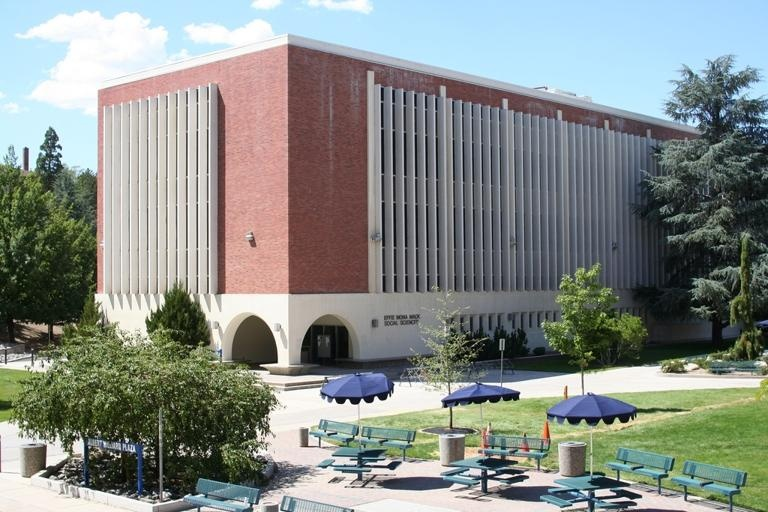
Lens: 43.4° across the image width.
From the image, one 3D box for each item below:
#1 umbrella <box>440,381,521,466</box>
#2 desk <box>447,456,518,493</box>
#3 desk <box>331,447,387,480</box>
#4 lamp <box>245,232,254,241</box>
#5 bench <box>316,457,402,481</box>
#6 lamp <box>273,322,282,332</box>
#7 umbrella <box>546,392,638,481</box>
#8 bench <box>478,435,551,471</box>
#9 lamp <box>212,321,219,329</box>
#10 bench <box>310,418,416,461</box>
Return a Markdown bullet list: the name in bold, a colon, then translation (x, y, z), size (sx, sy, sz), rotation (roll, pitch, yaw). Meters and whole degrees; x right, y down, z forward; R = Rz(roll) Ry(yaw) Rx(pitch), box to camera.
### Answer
- **umbrella**: translation (4.069, 7.091, 40.658), size (3.578, 1.048, 3.512), rotation (-3, -3, 28)
- **desk**: translation (3.477, 8.097, 36.043), size (2.307, 1.204, 2.201), rotation (2, -9, -34)
- **desk**: translation (-0.842, 8.052, 37.195), size (1.518, 0.825, 1.844), rotation (2, 2, 2)
- **lamp**: translation (-8.424, -1.249, 61.373), size (0.491, 0.524, 0.267), rotation (-2, -16, 7)
- **bench**: translation (-0.972, 8.067, 37.070), size (1.511, 0.346, 1.419), rotation (0, -4, 10)
- **lamp**: translation (-6.495, 4.326, 59.484), size (0.507, 0.561, 0.122), rotation (-8, -9, 32)
- **umbrella**: translation (7.613, 6.574, 35.777), size (3.284, 2.862, 3.137), rotation (6, -12, -43)
- **bench**: translation (5.240, 7.603, 37.784), size (2.624, 1.214, 1.789), rotation (-4, 2, 20)
- **lamp**: translation (-10.778, 4.406, 62.475), size (0.422, 0.499, 0.558), rotation (6, -10, -35)
- **bench**: translation (-0.707, 6.793, 39.572), size (5.030, 1.139, 1.270), rotation (-4, 0, 32)
